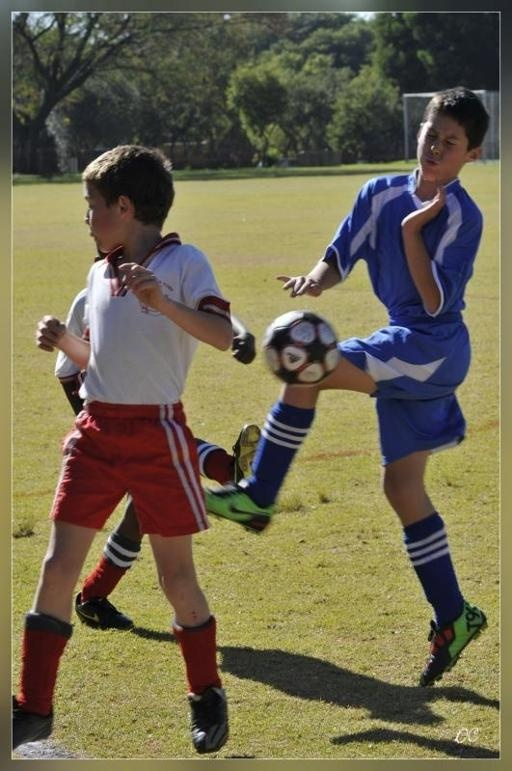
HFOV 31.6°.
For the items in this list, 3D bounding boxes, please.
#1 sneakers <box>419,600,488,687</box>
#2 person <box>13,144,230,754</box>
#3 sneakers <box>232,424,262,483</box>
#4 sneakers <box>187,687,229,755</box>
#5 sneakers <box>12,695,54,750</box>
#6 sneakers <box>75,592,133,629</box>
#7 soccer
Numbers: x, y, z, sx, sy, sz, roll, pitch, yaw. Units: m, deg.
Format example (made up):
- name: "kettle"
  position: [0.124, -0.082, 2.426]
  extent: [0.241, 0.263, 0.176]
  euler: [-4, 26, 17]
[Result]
- name: "sneakers"
  position: [0.504, 0.673, 2.310]
  extent: [0.168, 0.206, 0.068]
  euler: [-9, 19, -35]
- name: "person"
  position: [-0.285, 0.162, 2.004]
  extent: [0.478, 1.347, 0.539]
  euler: [1, 16, -2]
- name: "sneakers"
  position: [-0.026, 0.179, 2.436]
  extent: [0.064, 0.168, 0.075]
  euler: [12, 4, -33]
- name: "sneakers"
  position: [-0.101, 0.716, 1.927]
  extent: [0.065, 0.068, 0.166]
  euler: [-2, 8, -3]
- name: "sneakers"
  position: [-0.476, 0.721, 1.911]
  extent: [0.087, 0.145, 0.070]
  euler: [1, 15, -2]
- name: "sneakers"
  position: [-0.437, 0.655, 2.568]
  extent: [0.200, 0.078, 0.070]
  euler: [12, 19, 13]
- name: "soccer"
  position: [0.113, -0.088, 2.283]
  extent: [0.192, 0.172, 0.186]
  euler: [4, 13, -9]
